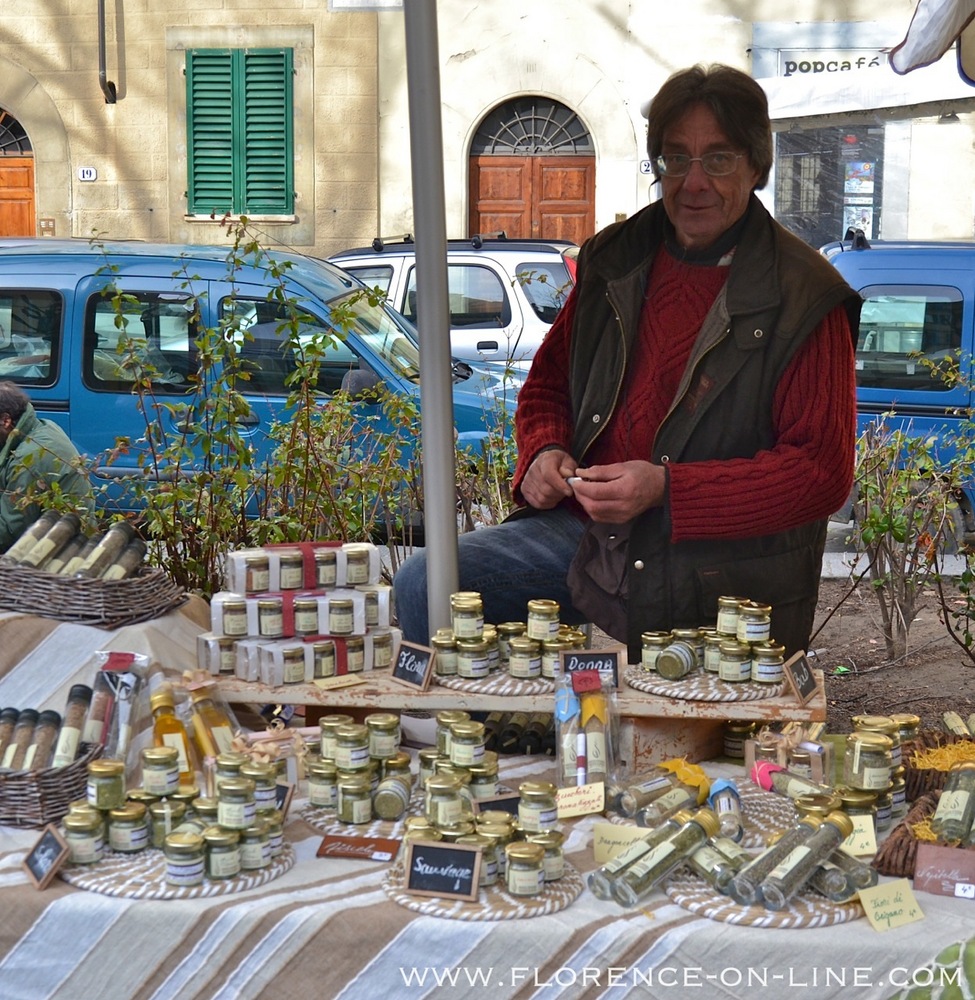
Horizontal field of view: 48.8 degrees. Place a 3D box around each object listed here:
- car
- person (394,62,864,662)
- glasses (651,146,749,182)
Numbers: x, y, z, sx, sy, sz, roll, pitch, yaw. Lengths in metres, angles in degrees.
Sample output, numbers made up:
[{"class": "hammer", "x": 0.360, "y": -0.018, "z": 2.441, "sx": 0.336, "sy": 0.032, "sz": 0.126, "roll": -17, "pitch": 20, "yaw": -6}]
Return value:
[{"class": "car", "x": -0.678, "y": -1.881, "z": 10.487, "sx": 2.946, "sy": 1.164, "sz": 1.567, "roll": 5, "pitch": 14, "yaw": 6}, {"class": "person", "x": 0.450, "y": -0.148, "z": 3.290, "sx": 1.392, "sy": 2.086, "sz": 1.085, "roll": 11, "pitch": 22, "yaw": 23}, {"class": "glasses", "x": 0.602, "y": -0.930, "z": 2.960, "sx": 0.223, "sy": 0.106, "sz": 0.102, "roll": 0, "pitch": 4, "yaw": 12}]
